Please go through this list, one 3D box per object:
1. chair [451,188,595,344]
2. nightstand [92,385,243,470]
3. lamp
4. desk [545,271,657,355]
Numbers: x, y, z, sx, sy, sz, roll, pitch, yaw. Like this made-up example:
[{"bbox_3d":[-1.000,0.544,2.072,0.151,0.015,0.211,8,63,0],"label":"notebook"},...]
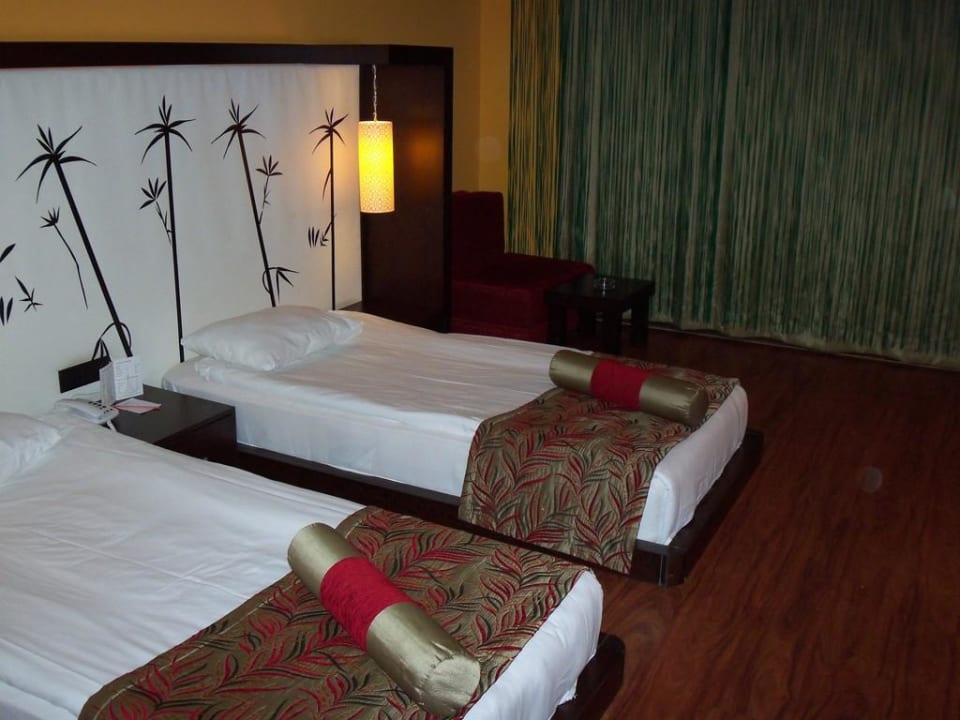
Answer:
[{"bbox_3d":[0.371,-0.662,6.052,1.148,1.454,1.300,9,19,26],"label":"chair"},{"bbox_3d":[-1.461,0.326,3.444,0.358,0.268,0.371,13,20,25],"label":"nightstand"},{"bbox_3d":[-0.714,-1.474,4.796,0.269,1.000,0.383,-4,19,-8],"label":"lamp"},{"bbox_3d":[0.969,-0.426,5.611,0.697,0.778,0.735,11,26,29],"label":"desk"}]
